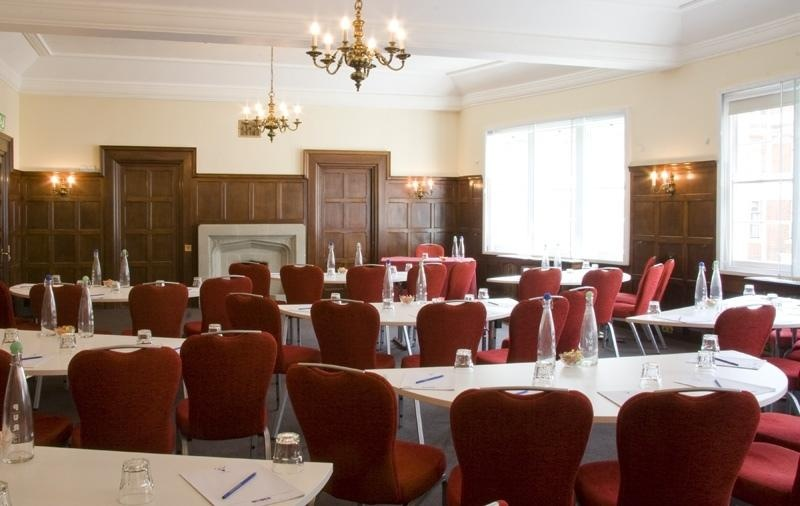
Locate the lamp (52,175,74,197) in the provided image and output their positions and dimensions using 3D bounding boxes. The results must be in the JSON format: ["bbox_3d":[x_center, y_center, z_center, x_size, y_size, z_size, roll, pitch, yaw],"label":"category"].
[{"bbox_3d":[-6.629,-1.328,11.160,0.413,0.409,0.133,0,2,-19],"label":"lamp"}]

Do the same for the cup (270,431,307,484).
[{"bbox_3d":[-0.680,1.217,3.481,0.181,0.210,0.189,-2,-3,0],"label":"cup"}]

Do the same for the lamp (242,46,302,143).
[{"bbox_3d":[-2.395,-3.023,10.731,0.785,1.502,0.790,0,1,36],"label":"lamp"}]

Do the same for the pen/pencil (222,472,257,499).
[{"bbox_3d":[-0.928,1.344,3.281,0.026,0.026,0.236,10,13,18],"label":"pen/pencil"}]

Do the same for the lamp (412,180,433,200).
[{"bbox_3d":[0.463,-1.402,12.590,0.403,0.412,0.143,-2,5,-24],"label":"lamp"}]
